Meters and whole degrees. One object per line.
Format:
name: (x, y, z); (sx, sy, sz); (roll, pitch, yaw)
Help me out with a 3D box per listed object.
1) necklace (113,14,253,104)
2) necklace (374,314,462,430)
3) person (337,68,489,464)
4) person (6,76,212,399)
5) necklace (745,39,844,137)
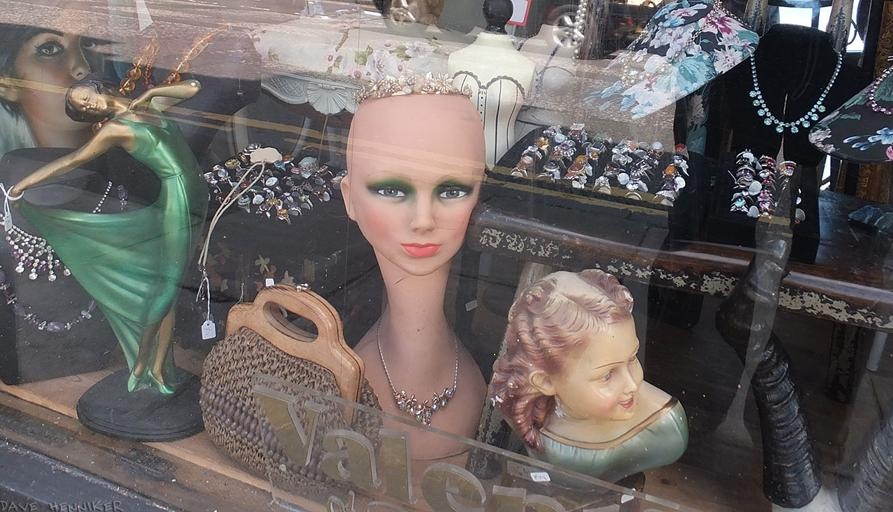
necklace: (-0.744, -0.532, 2.116); (0.348, 0.262, 0.205); (2, 2, 5)
necklace: (-0.077, 0.320, 2.029); (0.218, 0.196, 0.247); (-13, 35, -20)
person: (-0.104, 0.026, 1.952); (0.462, 0.899, 0.314); (3, 4, -5)
person: (-0.914, -0.039, 2.288); (0.472, 1.056, 0.574); (4, 2, -14)
necklace: (0.837, -0.392, 1.800); (0.218, 0.201, 0.055); (6, 1, 15)
